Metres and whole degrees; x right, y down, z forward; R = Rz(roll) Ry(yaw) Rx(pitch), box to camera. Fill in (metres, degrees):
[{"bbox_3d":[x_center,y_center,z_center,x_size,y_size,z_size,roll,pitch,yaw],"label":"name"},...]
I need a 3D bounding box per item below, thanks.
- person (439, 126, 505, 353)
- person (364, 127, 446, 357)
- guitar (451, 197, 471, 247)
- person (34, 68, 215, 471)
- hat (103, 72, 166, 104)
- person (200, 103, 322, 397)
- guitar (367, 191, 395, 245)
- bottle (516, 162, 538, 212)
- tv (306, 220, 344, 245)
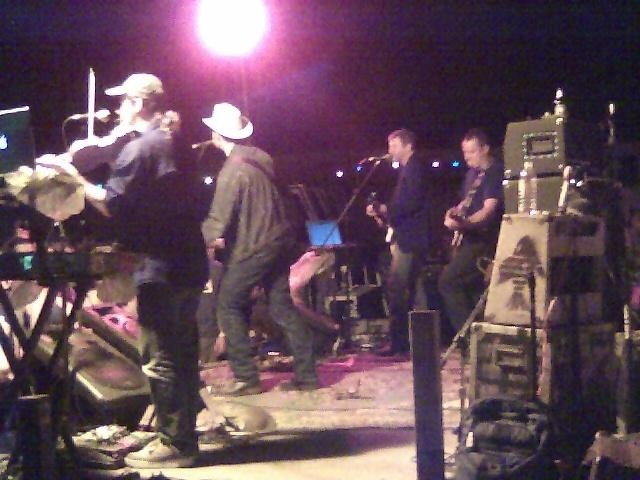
[{"bbox_3d":[1.328,-0.084,6.358,0.537,1.771,0.547,0,5,9],"label":"person"},{"bbox_3d":[0.972,-0.056,7.476,0.694,2.459,0.799,-1,0,-24],"label":"person"},{"bbox_3d":[1.234,-0.157,6.290,0.157,0.442,0.359,0,5,10],"label":"guitar"},{"bbox_3d":[-1.320,0.093,4.882,0.915,2.749,1.029,-1,0,34],"label":"person"},{"bbox_3d":[-1.261,-1.044,4.878,0.335,0.138,0.227,0,19,1],"label":"hat"},{"bbox_3d":[-0.482,0.039,6.348,0.916,2.520,0.876,-1,0,10],"label":"person"},{"bbox_3d":[0.688,-0.214,8.218,0.235,0.232,0.726,43,6,24],"label":"guitar"},{"bbox_3d":[1.538,-0.396,5.339,0.117,0.367,0.160,1,6,19],"label":"bottle"},{"bbox_3d":[0.037,-0.075,8.491,0.277,0.201,0.304,-2,-11,-5],"label":"tv"}]
